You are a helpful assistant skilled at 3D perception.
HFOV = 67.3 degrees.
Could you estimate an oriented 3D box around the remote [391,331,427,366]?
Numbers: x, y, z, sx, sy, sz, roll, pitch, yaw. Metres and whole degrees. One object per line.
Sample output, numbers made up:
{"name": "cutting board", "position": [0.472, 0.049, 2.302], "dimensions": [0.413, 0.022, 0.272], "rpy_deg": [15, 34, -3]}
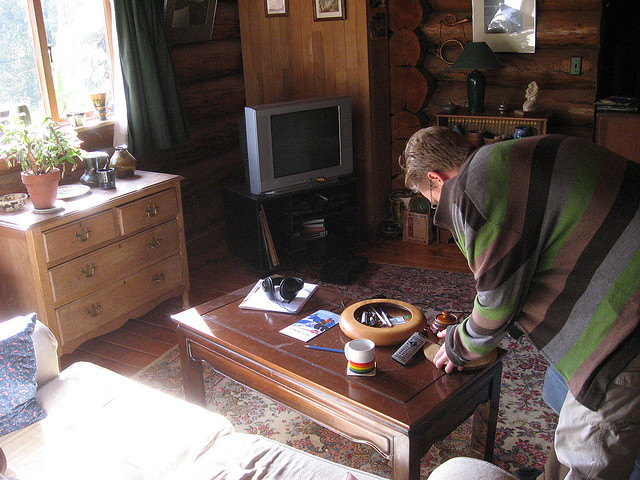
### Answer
{"name": "remote", "position": [0.365, 0.456, 1.945], "dimensions": [0.071, 0.019, 0.203], "rpy_deg": [27, 48, 25]}

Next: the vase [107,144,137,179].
{"name": "vase", "position": [-1.350, -0.543, 3.301], "dimensions": [0.208, 0.210, 0.209], "rpy_deg": [-3, 12, -6]}

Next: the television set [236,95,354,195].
{"name": "television set", "position": [-0.257, -0.832, 4.253], "dimensions": [1.033, 0.765, 0.549], "rpy_deg": [-17, 25, -34]}

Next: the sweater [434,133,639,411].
{"name": "sweater", "position": [0.704, 0.092, 1.525], "dimensions": [0.563, 0.757, 0.316], "rpy_deg": [6, 25, 19]}

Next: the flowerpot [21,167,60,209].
{"name": "flowerpot", "position": [-1.564, -0.324, 2.801], "dimensions": [0.217, 0.236, 0.221], "rpy_deg": [13, 20, 35]}

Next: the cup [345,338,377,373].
{"name": "cup", "position": [0.154, 0.458, 1.874], "dimensions": [0.129, 0.099, 0.100], "rpy_deg": [4, 14, 33]}
